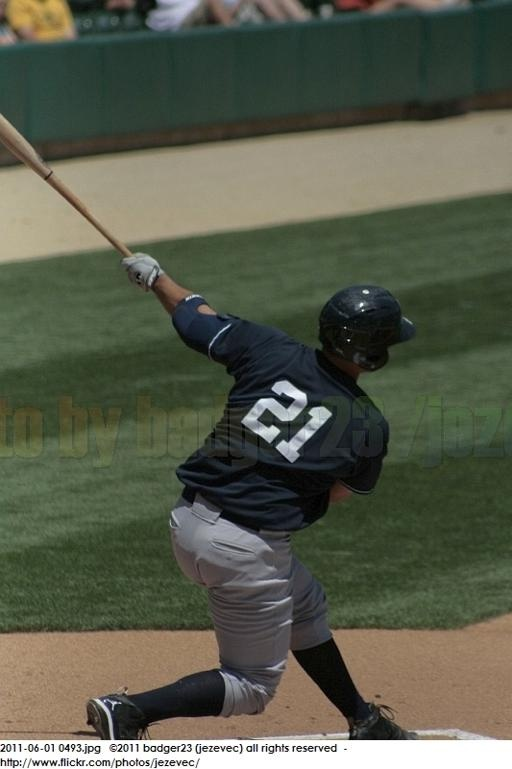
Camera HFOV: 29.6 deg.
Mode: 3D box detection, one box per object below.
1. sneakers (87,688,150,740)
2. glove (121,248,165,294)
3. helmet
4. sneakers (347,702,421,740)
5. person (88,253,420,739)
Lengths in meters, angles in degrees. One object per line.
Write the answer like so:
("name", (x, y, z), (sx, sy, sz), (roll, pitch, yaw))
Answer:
("sneakers", (-0.362, 0.907, 2.644), (0.212, 0.066, 0.118), (28, 2, -31))
("glove", (-0.368, -0.370, 3.103), (0.123, 0.058, 0.138), (33, -6, -34))
("helmet", (0.295, -0.166, 2.667), (0.213, 0.195, 0.284), (31, 38, 34))
("sneakers", (0.392, 1.028, 2.997), (0.297, 0.104, 0.096), (7, -9, -38))
("person", (-0.020, 0.345, 2.621), (0.823, 1.201, 0.315), (-1, 8, 6))
